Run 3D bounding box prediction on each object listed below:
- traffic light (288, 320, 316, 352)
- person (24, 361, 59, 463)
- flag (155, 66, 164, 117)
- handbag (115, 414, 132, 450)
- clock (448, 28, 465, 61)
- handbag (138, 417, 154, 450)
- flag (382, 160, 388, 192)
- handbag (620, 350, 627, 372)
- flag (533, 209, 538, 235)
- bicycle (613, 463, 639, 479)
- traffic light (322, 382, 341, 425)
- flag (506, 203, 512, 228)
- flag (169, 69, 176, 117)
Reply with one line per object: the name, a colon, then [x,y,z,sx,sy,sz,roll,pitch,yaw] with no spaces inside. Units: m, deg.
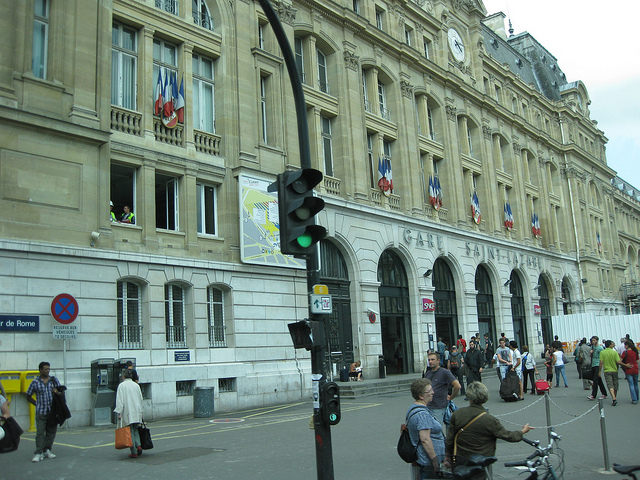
traffic light: [-0.417,2.207,16.024,0.609,0.655,0.317,-12,-15,30]
person: [-7.978,4.974,20.195,0.829,2.766,0.549,2,-13,-21]
flag: [-6.939,-6.253,30.153,0.389,1.970,0.289,-4,-12,3]
handbag: [-5.451,5.366,19.493,0.456,0.898,0.350,-3,-13,-2]
clock: [9.813,-13.926,50.251,0.217,2.460,2.289,-12,-15,33]
handbag: [-4.997,5.679,20.206,0.375,0.800,0.694,-3,-13,-2]
flag: [3.677,-3.470,39.758,0.342,1.672,0.124,8,-17,-41]
handbag: [11.659,4.656,26.801,0.260,0.765,0.597,-9,-14,23]
flag: [17.153,-1.131,55.753,0.138,1.561,0.431,-11,-15,31]
bicycle: [6.228,4.741,14.250,0.481,0.295,0.748,-9,-15,20]
traffic light: [0.298,3.708,15.895,0.398,1.064,0.305,-4,17,-9]
flag: [14.020,-1.740,51.994,0.191,1.871,0.634,-10,-14,28]
flag: [-6.432,-6.123,30.447,0.123,1.789,0.332,-13,-16,38]
